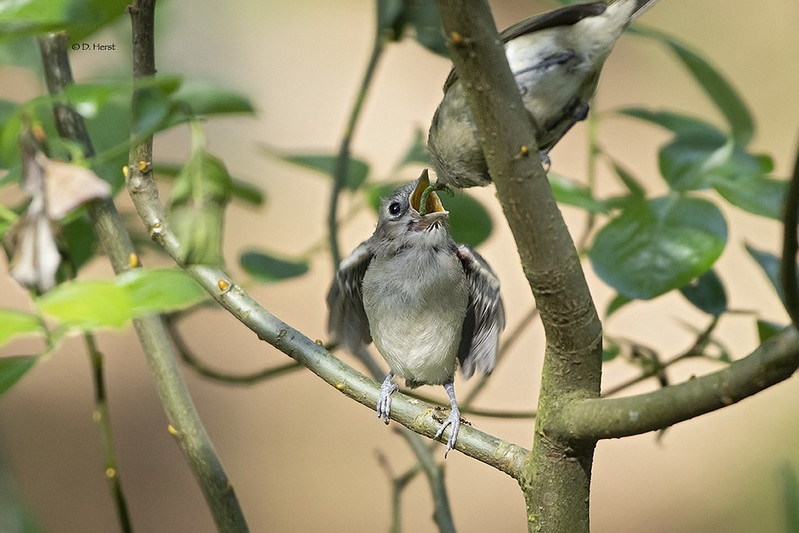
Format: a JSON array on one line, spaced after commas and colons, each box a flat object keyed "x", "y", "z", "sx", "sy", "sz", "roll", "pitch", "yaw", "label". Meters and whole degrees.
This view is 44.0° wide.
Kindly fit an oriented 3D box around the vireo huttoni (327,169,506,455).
[{"x": 0.030, "y": 0.078, "z": 2.124, "sx": 0.377, "sy": 0.529, "sz": 0.496, "roll": 2, "pitch": 6, "yaw": 3, "label": "vireo huttoni"}]

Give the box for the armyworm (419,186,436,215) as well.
[{"x": 0.056, "y": -0.145, "z": 1.987, "sx": 0.020, "sy": 0.087, "sz": 0.024, "roll": 19, "pitch": -39, "yaw": -13, "label": "armyworm"}]
